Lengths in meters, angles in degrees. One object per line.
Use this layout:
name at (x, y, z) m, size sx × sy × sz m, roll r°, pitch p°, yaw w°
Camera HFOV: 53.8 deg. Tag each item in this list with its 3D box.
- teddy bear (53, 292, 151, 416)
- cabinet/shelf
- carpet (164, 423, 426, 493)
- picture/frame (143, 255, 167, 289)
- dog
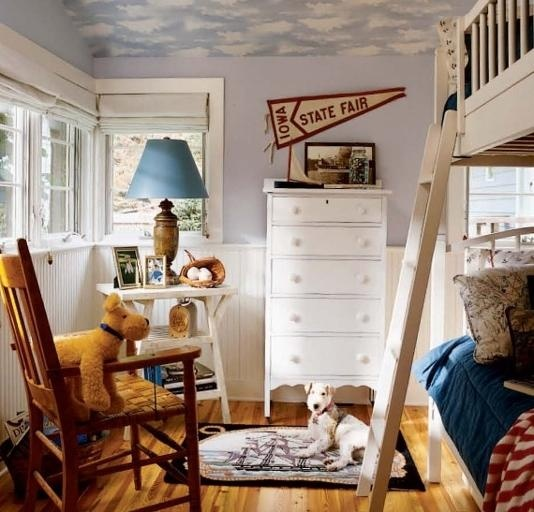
teddy bear at (-0.595, 0.339, 1.821) m, size 0.343 × 0.409 × 0.274 m, roll 1°, pitch 5°, yaw -1°
cabinet/shelf at (0.331, 0.303, 3.345) m, size 0.844 × 1.394 × 0.592 m, roll 1°, pitch -4°, yaw 0°
carpet at (0.030, 1.000, 2.724) m, size 0.835 × 0.031 × 0.683 m, roll 1°, pitch 5°, yaw 0°
picture/frame at (-0.637, 0.091, 2.982) m, size 0.196 × 0.255 × 0.027 m, roll 0°, pitch -9°, yaw -4°
dog at (0.346, 0.885, 2.774) m, size 0.527 × 0.355 × 0.258 m, roll 23°, pitch -13°, yaw -32°
